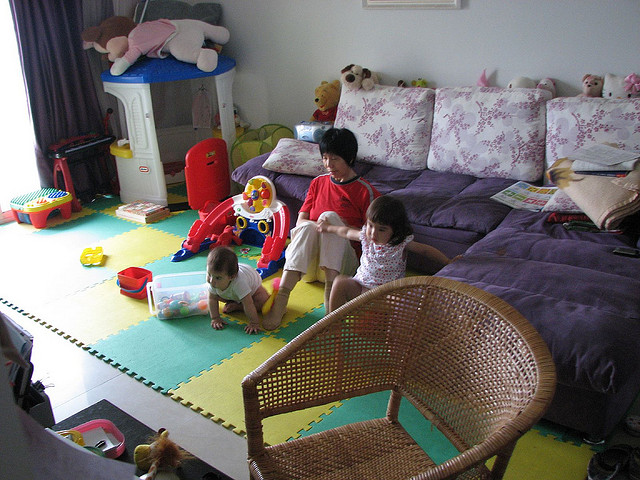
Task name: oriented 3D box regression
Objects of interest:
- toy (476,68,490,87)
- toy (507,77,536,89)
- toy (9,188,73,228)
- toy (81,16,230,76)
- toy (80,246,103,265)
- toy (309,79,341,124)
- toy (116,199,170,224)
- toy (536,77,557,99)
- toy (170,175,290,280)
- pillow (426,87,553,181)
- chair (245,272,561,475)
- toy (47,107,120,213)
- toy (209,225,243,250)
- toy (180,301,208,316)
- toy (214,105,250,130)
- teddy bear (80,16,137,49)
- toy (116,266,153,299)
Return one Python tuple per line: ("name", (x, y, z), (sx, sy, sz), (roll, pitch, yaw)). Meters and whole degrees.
("toy", (1.173, -1.162, 3.308), (0.092, 0.110, 0.103), (-9, 25, -19))
("toy", (1.381, -1.073, 3.157), (0.105, 0.073, 0.124), (12, 27, 25))
("toy", (-2.284, -0.270, 3.776), (0.414, 0.226, 0.398), (-16, 28, -33))
("toy", (-1.396, -1.585, 3.821), (0.840, 0.257, 0.703), (-4, 34, 0))
("toy", (-1.576, 0.088, 3.169), (0.103, 0.055, 0.138), (-8, 23, -1))
("toy", (0.046, -1.139, 3.837), (0.293, 0.388, 0.230), (8, 14, 28))
("toy", (-1.432, -0.252, 3.813), (0.254, 0.064, 0.235), (15, 26, 32))
("toy", (1.539, -1.038, 3.139), (0.109, 0.140, 0.104), (6, 4, 21))
("toy", (-0.536, -0.113, 3.021), (0.731, 0.508, 0.637), (14, 19, 32))
("pillow", (1.123, -0.753, 3.224), (0.831, 0.599, 0.319), (15, 31, 38))
("chair", (0.291, 0.429, 1.437), (0.451, 0.575, 0.412), (-20, 37, -25))
("toy", (-2.083, -0.765, 4.039), (0.418, 0.783, 0.475), (24, 36, 30))
("toy", (-0.687, -0.014, 3.289), (0.175, 0.079, 0.162), (17, 36, 10))
("toy", (-0.701, 0.376, 2.572), (0.172, 0.060, 0.060), (-20, 0, -31))
("toy", (-0.818, -1.133, 4.277), (0.207, 0.191, 0.268), (-26, 63, -40))
("teddy bear", (-1.755, -1.677, 3.910), (0.401, 0.129, 0.308), (-32, 63, -16))
("toy", (-1.128, 0.259, 2.782), (0.191, 0.138, 0.147), (12, 20, 17))
